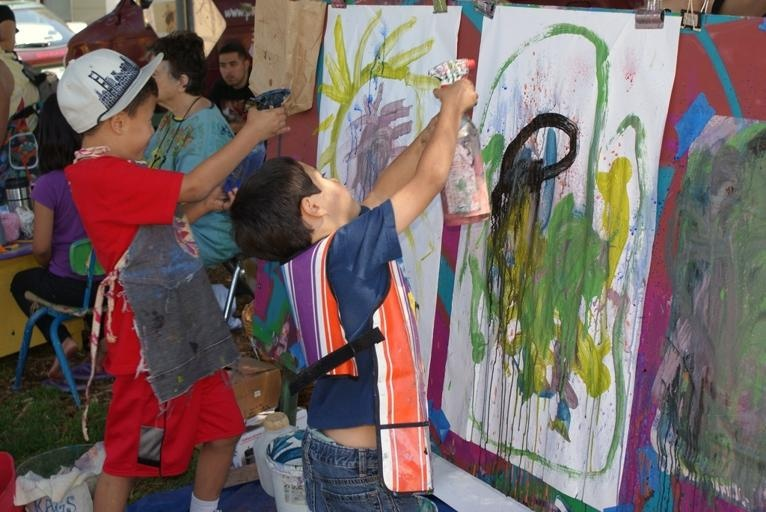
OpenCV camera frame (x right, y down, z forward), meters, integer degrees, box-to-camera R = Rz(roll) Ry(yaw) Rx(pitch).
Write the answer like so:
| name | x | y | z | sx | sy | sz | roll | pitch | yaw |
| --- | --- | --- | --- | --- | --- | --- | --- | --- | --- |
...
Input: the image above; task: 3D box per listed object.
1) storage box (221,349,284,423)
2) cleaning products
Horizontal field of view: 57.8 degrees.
| name | x | y | z | sx | sy | sz | roll | pitch | yaw |
| --- | --- | --- | --- | --- | --- | --- | --- | --- | --- |
| storage box | -0.784 | 0.807 | 4.281 | 0.343 | 0.414 | 0.319 | -20 | 56 | -15 |
| cleaning products | 0.309 | -0.450 | 2.781 | 0.184 | 0.654 | 0.287 | 8 | 7 | 38 |
